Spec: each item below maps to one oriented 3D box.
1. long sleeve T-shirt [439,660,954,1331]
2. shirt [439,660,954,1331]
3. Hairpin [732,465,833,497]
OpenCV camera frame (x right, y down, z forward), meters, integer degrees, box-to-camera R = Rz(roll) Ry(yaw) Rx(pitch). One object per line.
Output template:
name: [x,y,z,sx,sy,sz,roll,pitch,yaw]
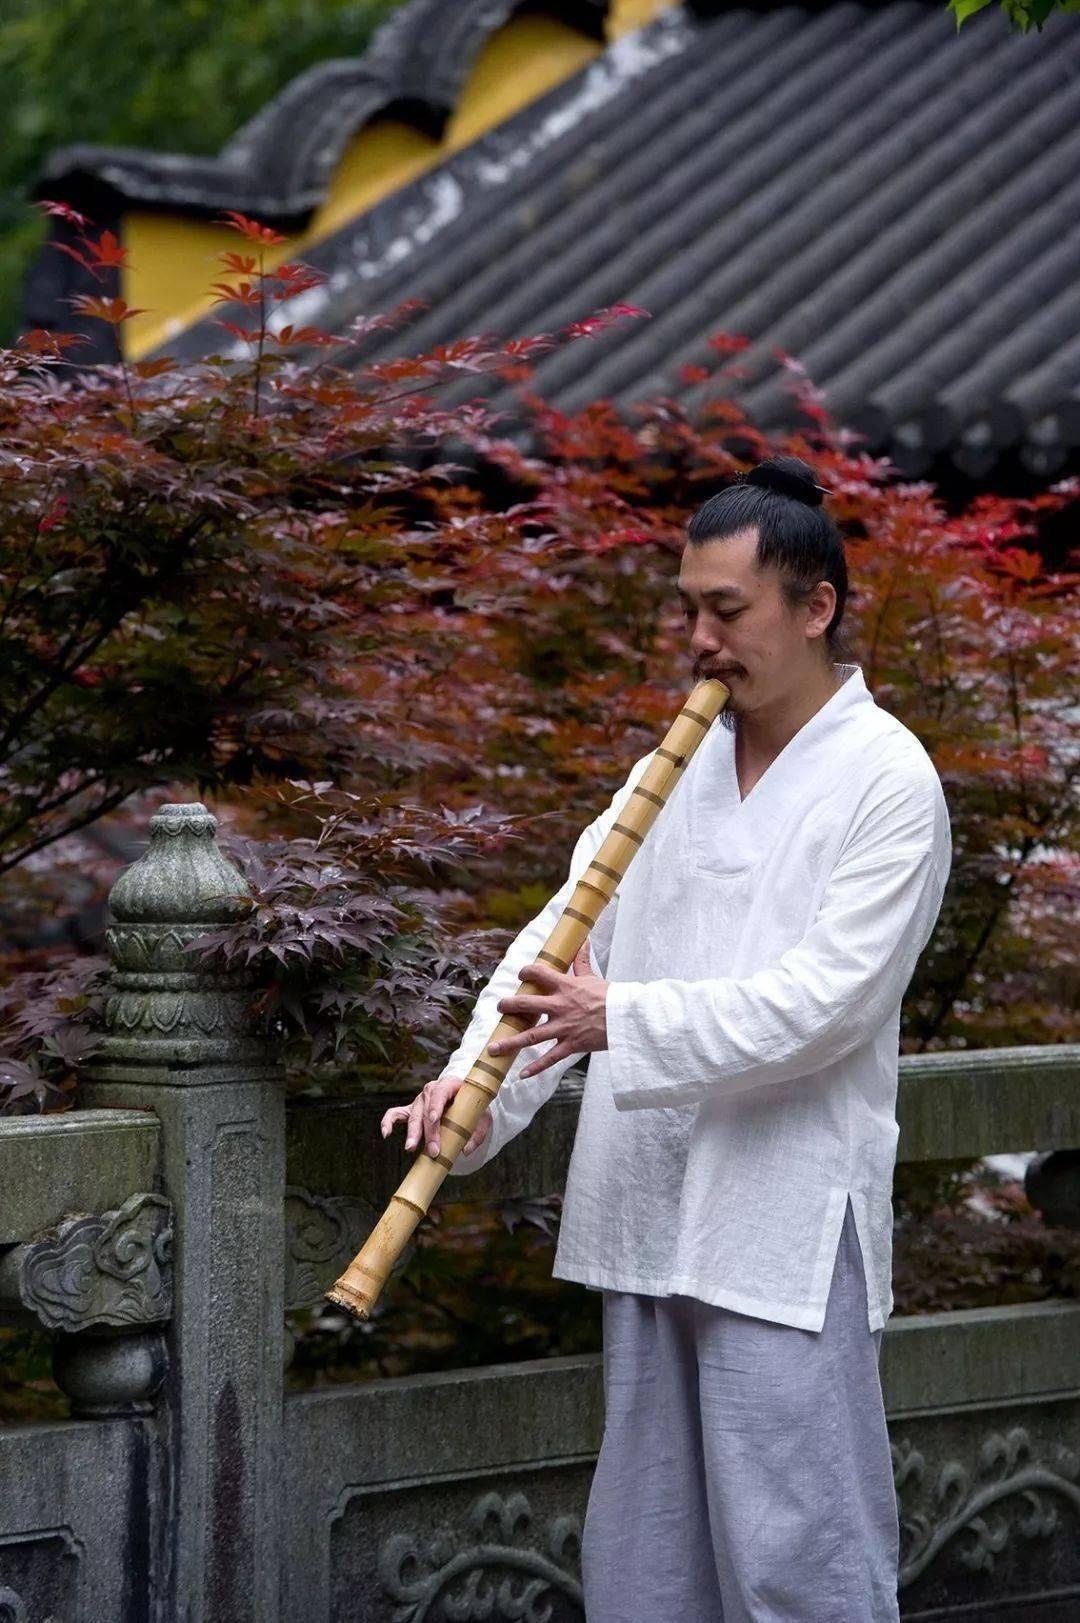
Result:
long sleeve T-shirt: [0.270,0.255,3.378,0.607,0.919,0.369,-5,-12,18]
shirt: [0.269,0.255,3.379,0.610,0.919,0.370,-5,-13,19]
Hairpin: [0.350,-0.458,3.408,0.087,0.021,0.073,11,1,-12]
